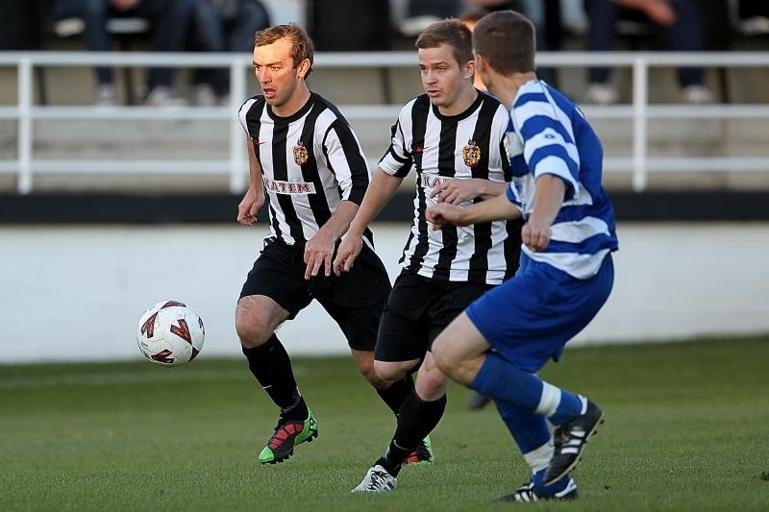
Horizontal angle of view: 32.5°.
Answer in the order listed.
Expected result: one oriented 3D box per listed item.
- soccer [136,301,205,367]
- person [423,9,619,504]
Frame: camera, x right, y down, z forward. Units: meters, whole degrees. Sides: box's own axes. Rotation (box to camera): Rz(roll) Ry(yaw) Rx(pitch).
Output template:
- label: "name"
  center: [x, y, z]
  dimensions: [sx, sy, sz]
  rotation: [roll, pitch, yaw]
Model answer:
- label: "soccer"
  center: [-1.765, 0.647, 10.999]
  dimensions: [0.532, 0.530, 0.238]
  rotation: [-3, 4, -11]
- label: "person"
  center: [1.082, -0.001, 9.784]
  dimensions: [1.265, 3.683, 0.639]
  rotation: [-1, 4, 9]
